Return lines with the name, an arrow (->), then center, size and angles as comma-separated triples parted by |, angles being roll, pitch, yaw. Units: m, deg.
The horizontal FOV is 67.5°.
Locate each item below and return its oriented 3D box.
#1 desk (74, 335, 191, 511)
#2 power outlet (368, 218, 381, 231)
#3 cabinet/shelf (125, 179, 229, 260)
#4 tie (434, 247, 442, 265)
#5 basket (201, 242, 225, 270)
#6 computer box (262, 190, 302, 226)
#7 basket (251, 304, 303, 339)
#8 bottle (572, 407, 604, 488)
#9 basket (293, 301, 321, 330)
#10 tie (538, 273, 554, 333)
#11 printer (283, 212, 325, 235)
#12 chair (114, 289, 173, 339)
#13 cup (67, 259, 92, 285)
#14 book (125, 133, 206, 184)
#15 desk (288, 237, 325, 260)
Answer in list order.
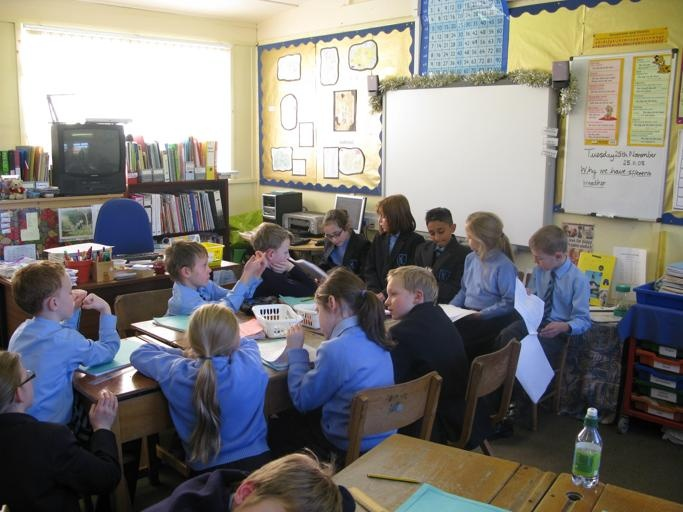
desk -> -0.900, 0.611, 2.261 | 0.454, 0.609, 0.611 | -5, 10, -39
power outlet -> 0.349, -0.342, 5.481 | 0.092, 0.177, 0.170 | 3, 0, -31
cabinet/shelf -> -1.632, -0.388, 4.942 | 0.799, 0.991, 0.294 | -4, 4, -29
tie -> 0.777, -0.012, 4.028 | 0.069, 0.100, 0.034 | 0, -22, 43
basket -> -1.094, -0.015, 4.320 | 0.237, 0.183, 0.358 | -5, 8, -38
computer box -> -0.706, -0.544, 6.047 | 0.413, 0.464, 0.255 | -11, 16, -43
basket -> -0.338, 0.327, 2.648 | 0.153, 0.075, 0.236 | -2, 8, -21
bottle -> 0.754, 0.578, 1.554 | 0.069, 0.266, 0.197 | 6, 13, 28
basket -> -0.185, 0.321, 2.740 | 0.119, 0.075, 0.170 | -7, 16, -35
tie -> 1.374, 0.283, 3.381 | 0.070, 0.369, 0.157 | 5, 12, 23
printer -> -0.351, -0.422, 5.682 | 0.309, 0.173, 0.291 | 12, 14, 41
chair -> -1.175, 0.279, 3.057 | 0.302, 0.400, 0.263 | -6, 8, -44
cup -> -1.783, 0.107, 3.503 | 0.146, 0.148, 0.157 | -1, 2, 0
book -> -1.824, -1.057, 5.469 | 0.966, 0.476, 0.157 | -9, 15, -37
desk -> -0.367, -0.047, 5.351 | 0.252, 0.193, 0.263 | -2, 16, -9
